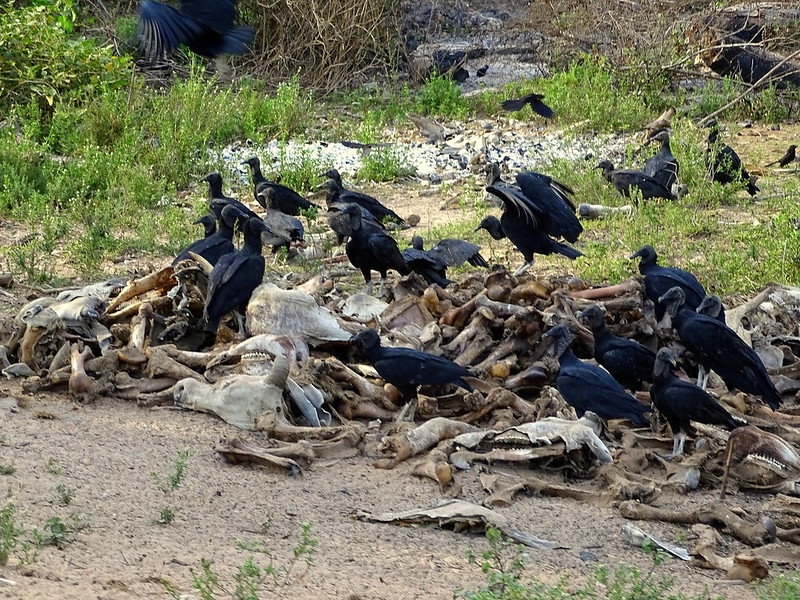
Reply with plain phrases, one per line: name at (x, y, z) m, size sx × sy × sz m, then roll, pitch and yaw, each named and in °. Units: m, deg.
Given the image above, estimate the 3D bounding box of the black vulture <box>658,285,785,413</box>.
black vulture at (2.635, 0.360, 10.515) m, size 1.112 × 0.822 × 0.390 m, roll 10°, pitch 10°, yaw 28°

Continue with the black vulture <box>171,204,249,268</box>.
black vulture at (-1.712, -0.476, 11.341) m, size 0.728 × 0.821 × 0.304 m, roll 5°, pitch 4°, yaw -35°

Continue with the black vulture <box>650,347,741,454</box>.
black vulture at (2.300, 0.797, 9.970) m, size 0.671 × 0.803 × 0.365 m, roll 5°, pitch 16°, yaw 12°

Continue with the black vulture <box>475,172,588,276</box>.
black vulture at (1.299, -0.783, 12.212) m, size 0.896 × 0.778 × 1.143 m, roll 1°, pitch 14°, yaw 14°

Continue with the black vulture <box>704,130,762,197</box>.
black vulture at (3.802, -1.525, 14.709) m, size 0.647 × 0.671 × 0.744 m, roll 8°, pitch 18°, yaw 22°

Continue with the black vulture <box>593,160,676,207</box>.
black vulture at (2.713, -1.352, 14.620) m, size 0.886 × 0.598 × 0.352 m, roll -1°, pitch 1°, yaw 24°

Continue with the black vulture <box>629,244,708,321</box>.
black vulture at (2.379, -0.156, 11.254) m, size 0.660 × 0.767 × 0.351 m, roll 1°, pitch 29°, yaw 9°

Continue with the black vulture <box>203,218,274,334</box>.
black vulture at (-1.369, -0.164, 10.723) m, size 0.430 × 0.883 × 0.818 m, roll 7°, pitch 17°, yaw 20°

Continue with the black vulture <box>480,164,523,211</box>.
black vulture at (0.996, -1.126, 12.594) m, size 0.387 × 0.234 × 0.532 m, roll -13°, pitch 37°, yaw -8°

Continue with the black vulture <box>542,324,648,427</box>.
black vulture at (1.544, 0.620, 10.039) m, size 0.839 × 0.808 × 0.345 m, roll 4°, pitch 14°, yaw 24°

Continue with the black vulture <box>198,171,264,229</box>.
black vulture at (-1.774, -1.037, 13.098) m, size 0.585 × 0.583 × 0.234 m, roll -4°, pitch -2°, yaw 26°
